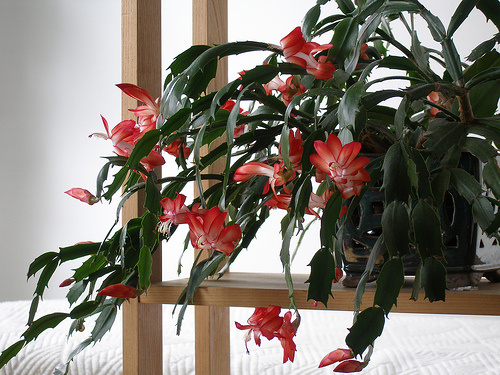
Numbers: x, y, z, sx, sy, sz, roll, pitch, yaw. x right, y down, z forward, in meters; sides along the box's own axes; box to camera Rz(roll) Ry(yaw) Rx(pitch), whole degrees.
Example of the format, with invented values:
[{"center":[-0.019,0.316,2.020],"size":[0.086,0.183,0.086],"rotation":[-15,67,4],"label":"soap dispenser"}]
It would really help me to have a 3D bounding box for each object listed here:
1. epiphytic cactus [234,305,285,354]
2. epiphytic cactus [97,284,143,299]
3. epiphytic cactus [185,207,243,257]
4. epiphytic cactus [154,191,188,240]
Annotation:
[{"center":[0.004,0.293,1.076],"size":[0.094,0.113,0.098],"rotation":[29,-18,-6],"label":"epiphytic cactus"},{"center":[-0.280,0.220,1.102],"size":[0.082,0.035,0.066],"rotation":[1,-7,-18],"label":"epiphytic cactus"},{"center":[-0.080,0.088,1.052],"size":[0.101,0.093,0.127],"rotation":[1,-7,-19],"label":"epiphytic cactus"},{"center":[-0.156,0.050,1.078],"size":[0.037,0.080,0.079],"rotation":[22,-23,45],"label":"epiphytic cactus"}]
